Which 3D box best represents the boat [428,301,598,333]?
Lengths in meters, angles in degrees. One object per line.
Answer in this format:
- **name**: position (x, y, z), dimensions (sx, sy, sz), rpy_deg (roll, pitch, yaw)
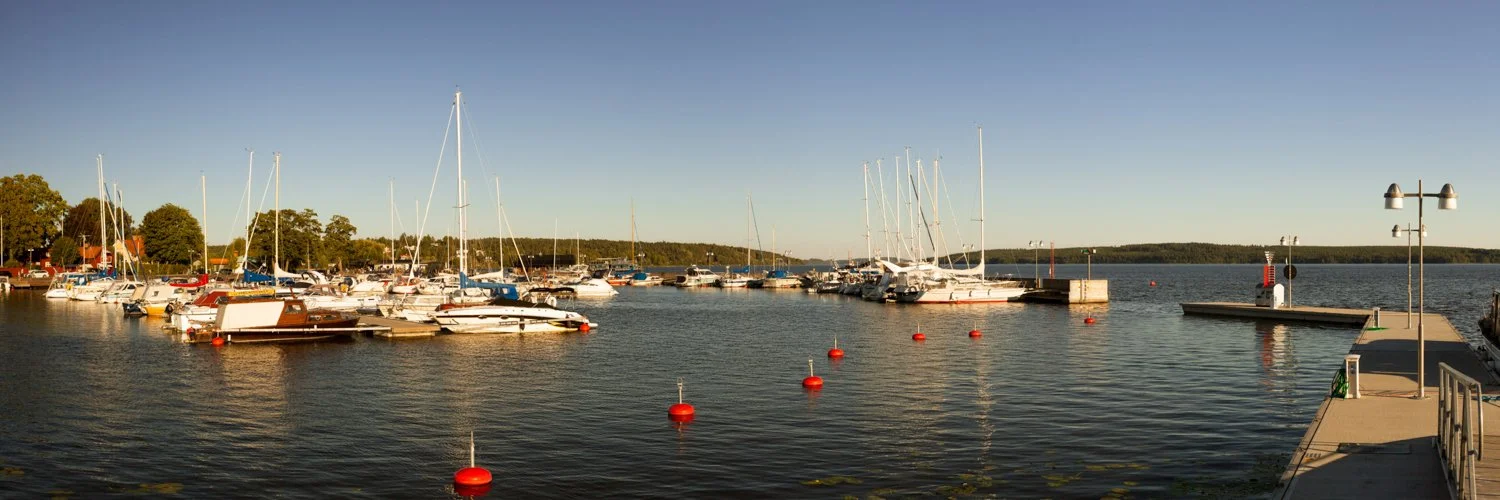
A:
- **boat**: position (-35.826, 11.294, 150.169), dimensions (34.108, 5.548, 10.516), rpy_deg (0, 0, -9)
